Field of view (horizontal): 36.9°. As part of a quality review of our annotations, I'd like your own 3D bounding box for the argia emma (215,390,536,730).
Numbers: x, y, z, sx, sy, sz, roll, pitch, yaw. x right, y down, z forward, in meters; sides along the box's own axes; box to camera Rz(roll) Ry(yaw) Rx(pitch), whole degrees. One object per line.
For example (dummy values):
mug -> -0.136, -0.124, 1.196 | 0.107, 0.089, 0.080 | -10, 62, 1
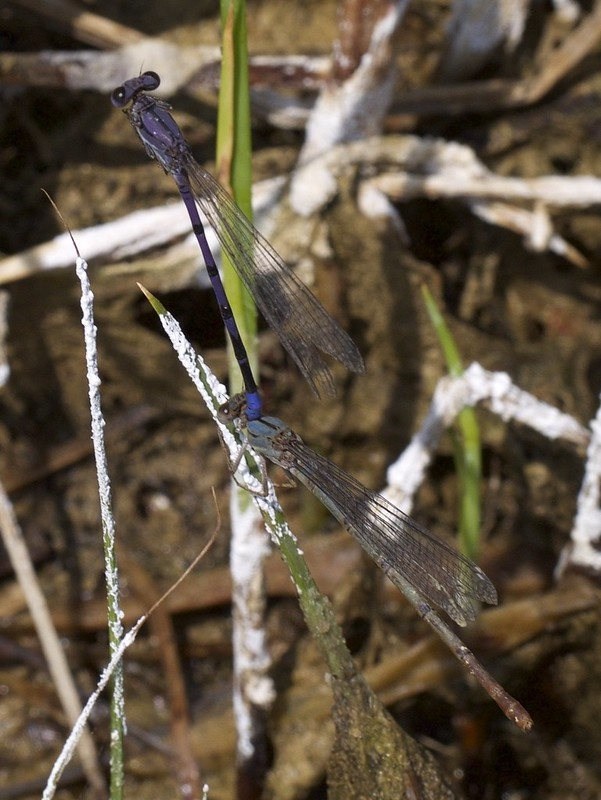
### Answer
argia emma -> 0.099, 0.168, 1.129 | 0.560, 0.164, 0.238 | 39, 23, 5
